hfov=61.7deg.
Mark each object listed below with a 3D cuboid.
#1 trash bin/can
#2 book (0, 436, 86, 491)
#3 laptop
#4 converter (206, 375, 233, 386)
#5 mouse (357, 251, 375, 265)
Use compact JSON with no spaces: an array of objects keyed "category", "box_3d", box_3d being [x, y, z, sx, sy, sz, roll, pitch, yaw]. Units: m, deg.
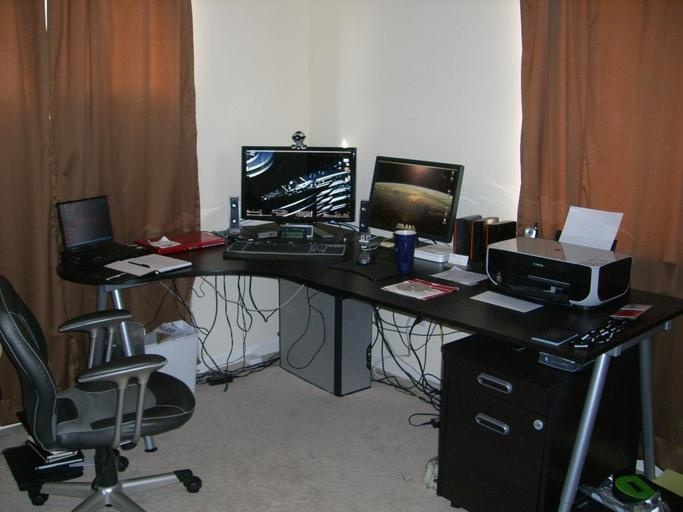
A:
[{"category":"trash bin/can","box_3d":[-1.107,0.489,3.344,0.418,0.438,0.419,-5,13,-35]},{"category":"book","box_3d":[-1.425,1.018,2.780,0.253,0.065,0.250,-5,15,-34]},{"category":"laptop","box_3d":[-1.239,-0.134,2.989,0.311,0.289,0.371,10,16,17]},{"category":"converter","box_3d":[-0.775,0.784,3.638,0.124,0.047,0.068,-4,12,-31]},{"category":"mouse","box_3d":[0.124,0.013,2.932,0.074,0.078,0.056,-1,-4,-2]}]
